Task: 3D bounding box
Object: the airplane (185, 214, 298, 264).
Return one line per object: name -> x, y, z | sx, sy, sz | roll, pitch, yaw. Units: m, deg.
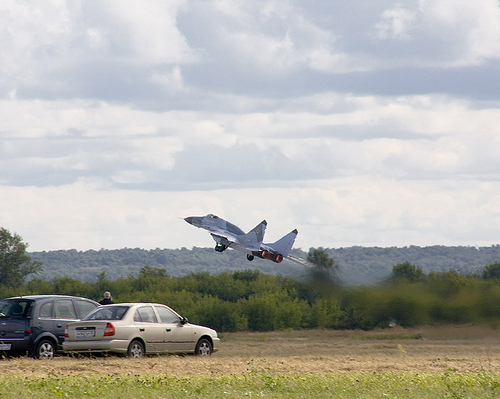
airplane -> -0.328, 1.733, 81.116 | 9.517, 4.682, 3.340 | 0, -12, 10
